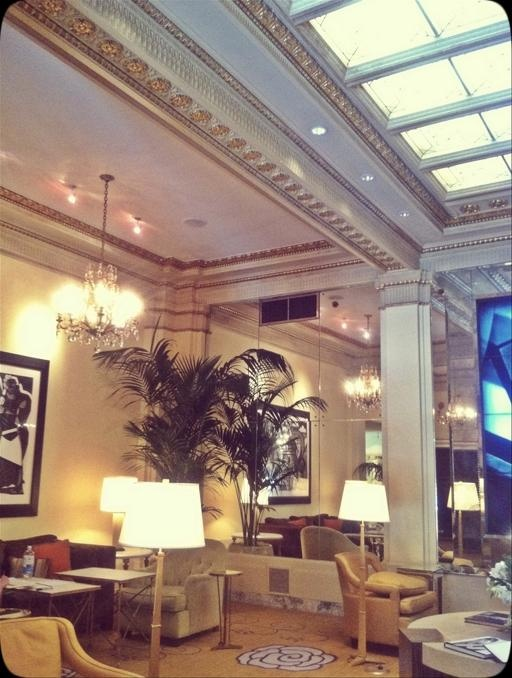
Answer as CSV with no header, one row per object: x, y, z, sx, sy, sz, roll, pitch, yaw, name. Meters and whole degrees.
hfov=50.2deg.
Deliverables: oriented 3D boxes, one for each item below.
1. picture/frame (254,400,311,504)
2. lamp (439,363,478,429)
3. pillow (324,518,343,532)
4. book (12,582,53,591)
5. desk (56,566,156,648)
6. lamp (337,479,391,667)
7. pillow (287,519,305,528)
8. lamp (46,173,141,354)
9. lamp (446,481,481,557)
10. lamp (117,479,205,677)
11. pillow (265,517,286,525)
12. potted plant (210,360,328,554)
0.346,1.447,6.820,1.151,1.542,0.058,-11,-24,36,picture/frame
2.130,0.612,5.709,0.356,0.739,0.341,32,-43,-31,lamp
0.882,2.147,6.337,0.137,0.137,0.055,14,-25,5,pillow
-1.658,1.811,4.024,0.152,0.035,0.151,-3,-10,24,book
-1.348,2.353,4.763,0.423,0.355,0.413,-4,-37,-37,desk
0.927,1.951,4.757,0.383,1.420,1.297,0,-11,10,lamp
0.463,2.199,6.555,0.128,0.134,0.040,-8,-26,36,pillow
-1.734,-0.602,5.982,0.831,1.650,2.003,6,-11,-21,lamp
2.065,1.783,5.452,0.087,0.707,0.349,10,-13,-36,lamp
-0.394,0.990,2.215,0.330,0.839,0.772,3,-11,-6,lamp
0.236,2.261,6.786,0.152,0.058,0.150,-1,-6,17,pillow
0.206,1.447,6.839,1.416,2.276,1.335,26,-37,-28,potted plant
